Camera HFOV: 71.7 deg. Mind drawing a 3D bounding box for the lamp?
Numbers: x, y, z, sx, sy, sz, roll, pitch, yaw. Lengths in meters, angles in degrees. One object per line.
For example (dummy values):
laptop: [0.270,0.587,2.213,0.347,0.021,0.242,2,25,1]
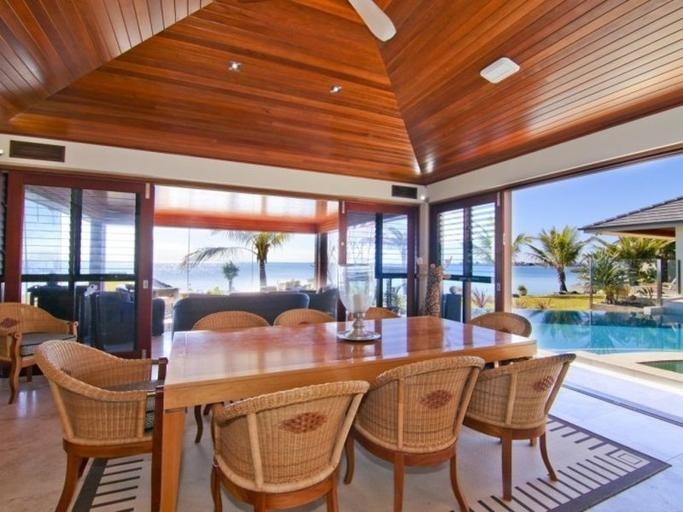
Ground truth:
lamp: [0.234,0.398,3.963,0.564,0.738,0.517,0,-4,-1]
